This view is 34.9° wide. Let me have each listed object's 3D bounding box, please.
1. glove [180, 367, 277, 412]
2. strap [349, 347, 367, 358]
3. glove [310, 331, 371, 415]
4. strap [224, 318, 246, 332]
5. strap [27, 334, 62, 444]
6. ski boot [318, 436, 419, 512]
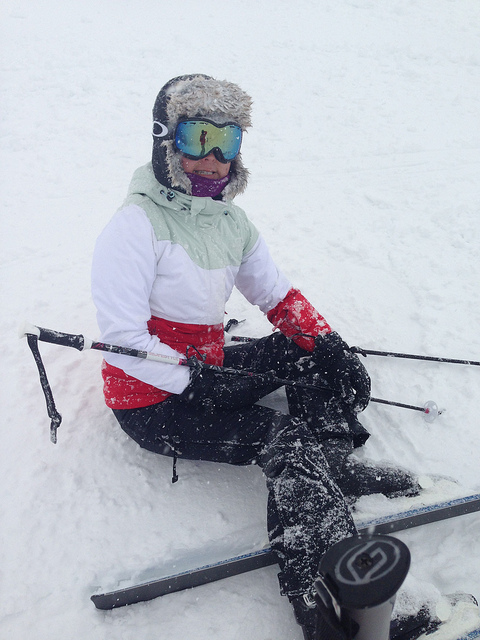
[{"bbox_3d":[-0.074,0.324,3.549,0.572,0.133,0.167,5,13,-37],"label":"glove"},{"bbox_3d":[0.621,0.163,4.043,0.050,0.037,0.160,-14,-20,36],"label":"strap"},{"bbox_3d":[0.483,0.280,3.931,0.279,0.416,0.179,-27,-8,-13],"label":"glove"},{"bbox_3d":[-0.042,0.036,4.694,0.090,0.033,0.055,-24,19,7],"label":"strap"},{"bbox_3d":[-0.845,0.325,3.331,0.098,0.592,0.253,-10,40,-26],"label":"strap"},{"bbox_3d":[0.595,0.740,3.606,0.345,0.186,0.637,-8,18,-22],"label":"ski boot"}]
